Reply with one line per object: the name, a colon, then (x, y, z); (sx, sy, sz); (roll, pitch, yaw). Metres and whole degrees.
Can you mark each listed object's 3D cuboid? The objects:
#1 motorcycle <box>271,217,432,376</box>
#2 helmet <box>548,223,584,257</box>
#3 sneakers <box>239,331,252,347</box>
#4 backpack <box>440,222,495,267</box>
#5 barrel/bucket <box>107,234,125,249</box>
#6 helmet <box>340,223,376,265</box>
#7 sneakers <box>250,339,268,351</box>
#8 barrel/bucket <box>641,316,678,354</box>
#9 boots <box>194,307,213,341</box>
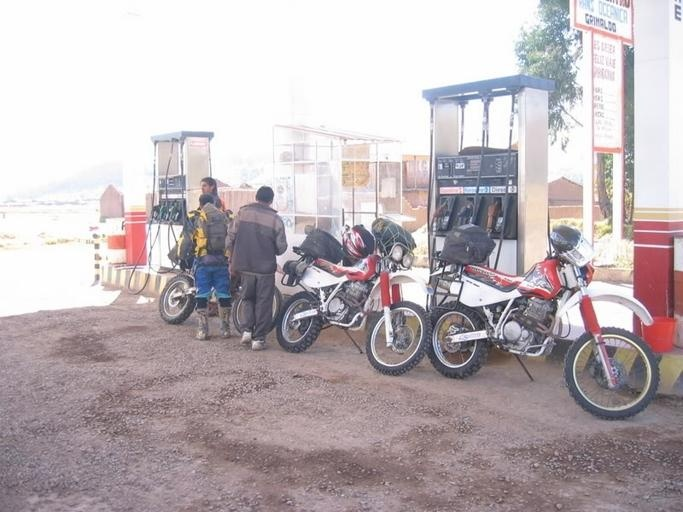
motorcycle: (0.210, 0.428, 6.858); (2.318, 1.799, 0.888); (5, 8, 40)
helmet: (2.247, -0.154, 5.397); (0.261, 0.395, 0.156); (-1, -36, 24)
sneakers: (-1.329, 1.169, 7.472); (0.116, 0.208, 0.212); (7, -39, -11)
backpack: (1.421, -0.124, 6.050); (0.416, 0.409, 0.495); (5, 3, 21)
barrel/bucket: (-6.017, -0.373, 14.347); (0.377, 0.324, 0.405); (0, 2, 0)
helmet: (0.178, -0.180, 6.875); (0.338, 0.471, 0.497); (0, 28, -9)
sneakers: (-1.129, 1.212, 7.262); (0.093, 0.127, 0.278); (-1, -8, 3)
barrel/bucket: (3.309, 0.800, 5.583); (0.351, 0.360, 0.384); (-4, 0, 0)
boots: (-2.013, 0.989, 7.754); (0.182, 0.409, 0.330); (-2, 6, -18)
